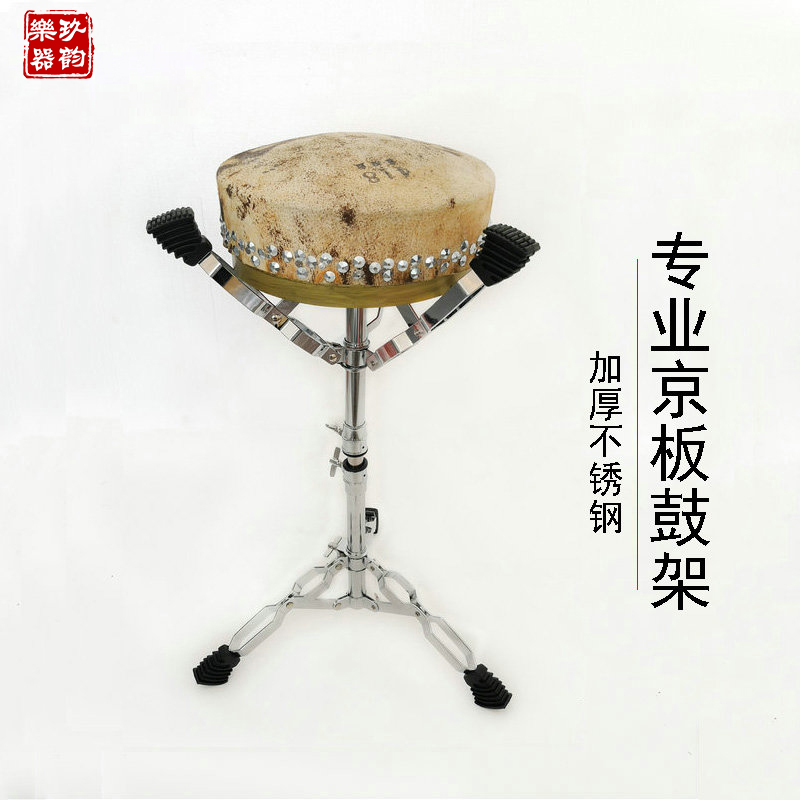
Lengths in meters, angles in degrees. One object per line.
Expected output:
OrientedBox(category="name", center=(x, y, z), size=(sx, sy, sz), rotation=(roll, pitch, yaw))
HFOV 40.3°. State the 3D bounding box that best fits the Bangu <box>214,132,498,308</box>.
OrientedBox(category="Bangu", center=(-0.073, -0.307, 1.970), size=(0.485, 0.274, 0.216), rotation=(-1, 11, -7))
